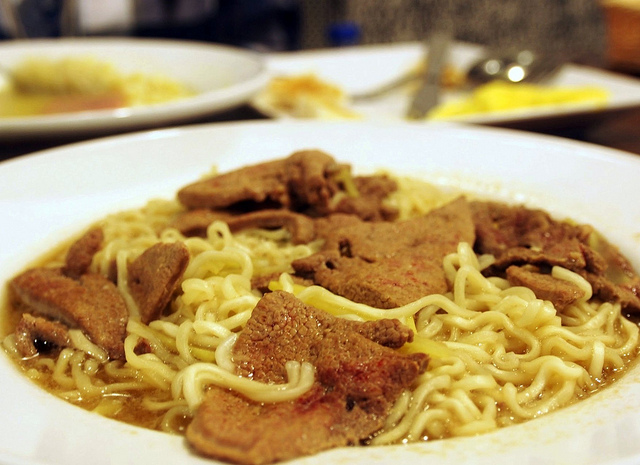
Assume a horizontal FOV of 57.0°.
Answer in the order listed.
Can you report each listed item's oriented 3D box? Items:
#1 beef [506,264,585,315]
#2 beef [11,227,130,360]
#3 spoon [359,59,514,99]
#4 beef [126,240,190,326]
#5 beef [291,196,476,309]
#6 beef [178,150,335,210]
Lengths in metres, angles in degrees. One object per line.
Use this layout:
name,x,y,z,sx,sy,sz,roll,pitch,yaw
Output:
beef,0.874,0.198,2.308,0.291,0.174,0.212,-3,5,-10
beef,-0.910,0.265,2.265,0.341,0.167,0.509,-22,70,-45
spoon,0.554,-0.770,2.924,0.413,0.071,0.235,-15,20,-8
beef,-0.634,0.140,2.275,0.249,0.225,0.311,-22,56,-20
beef,0.290,0.057,2.437,0.559,0.138,0.653,29,55,19
beef,-0.248,-0.255,2.582,0.654,0.237,0.308,-8,12,-28
